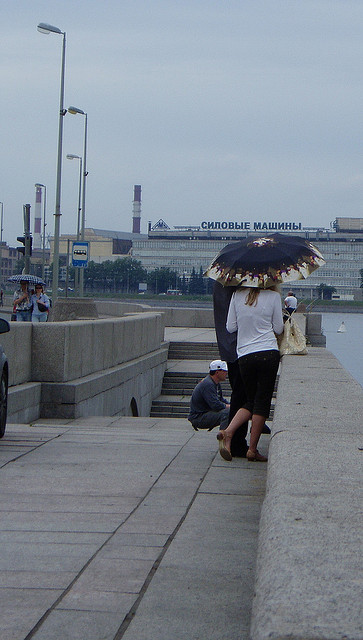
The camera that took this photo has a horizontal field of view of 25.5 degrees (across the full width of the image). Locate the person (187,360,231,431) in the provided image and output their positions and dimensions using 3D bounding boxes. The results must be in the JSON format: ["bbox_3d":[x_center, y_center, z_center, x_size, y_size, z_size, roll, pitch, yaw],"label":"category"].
[{"bbox_3d":[0.299,0.741,7.390,0.425,0.747,0.327,1,2,18],"label":"person"}]

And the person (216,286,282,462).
[{"bbox_3d":[0.487,0.393,5.739,0.455,1.183,0.307,-1,0,6],"label":"person"}]

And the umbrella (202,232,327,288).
[{"bbox_3d":[0.610,-0.460,6.102,0.606,0.394,0.962,-1,0,34],"label":"umbrella"}]

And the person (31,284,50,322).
[{"bbox_3d":[-2.999,-0.377,17.076,0.370,0.790,0.641,-1,0,-11],"label":"person"}]

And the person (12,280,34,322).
[{"bbox_3d":[-3.477,-0.459,17.664,0.407,0.918,1.746,-1,0,-11],"label":"person"}]

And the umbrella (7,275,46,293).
[{"bbox_3d":[-3.839,-1.030,19.924,0.860,0.491,0.875,3,5,-2],"label":"umbrella"}]
